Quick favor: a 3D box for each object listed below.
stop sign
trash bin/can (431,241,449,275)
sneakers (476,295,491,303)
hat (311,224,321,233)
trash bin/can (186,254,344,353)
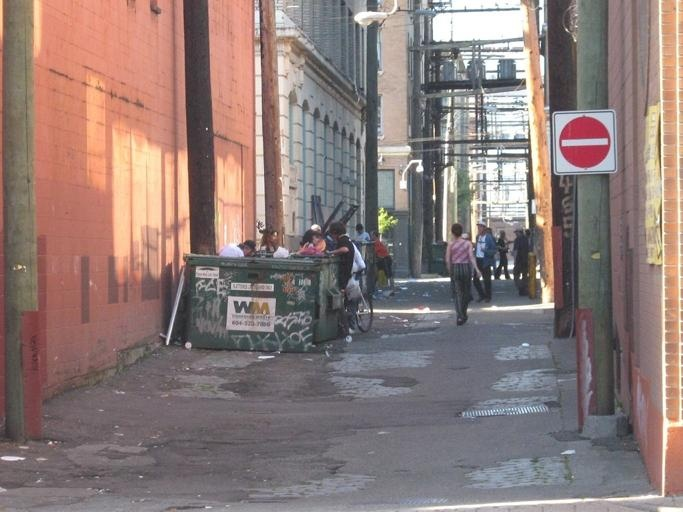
[{"bbox_3d":[2.348,-1.091,9.290,0.497,0.644,0.056,0,-1,8],"label":"stop sign"},{"bbox_3d":[4.662,0.196,45.576,0.853,1.519,0.851,-1,2,-39],"label":"trash bin/can"},{"bbox_3d":[3.770,1.137,25.474,0.391,0.230,0.162,2,-1,16],"label":"sneakers"},{"bbox_3d":[-0.484,-0.528,18.540,0.223,0.190,0.398,2,2,15],"label":"hat"},{"bbox_3d":[-1.314,0.737,15.644,2.430,1.566,0.856,-1,3,4],"label":"trash bin/can"}]
